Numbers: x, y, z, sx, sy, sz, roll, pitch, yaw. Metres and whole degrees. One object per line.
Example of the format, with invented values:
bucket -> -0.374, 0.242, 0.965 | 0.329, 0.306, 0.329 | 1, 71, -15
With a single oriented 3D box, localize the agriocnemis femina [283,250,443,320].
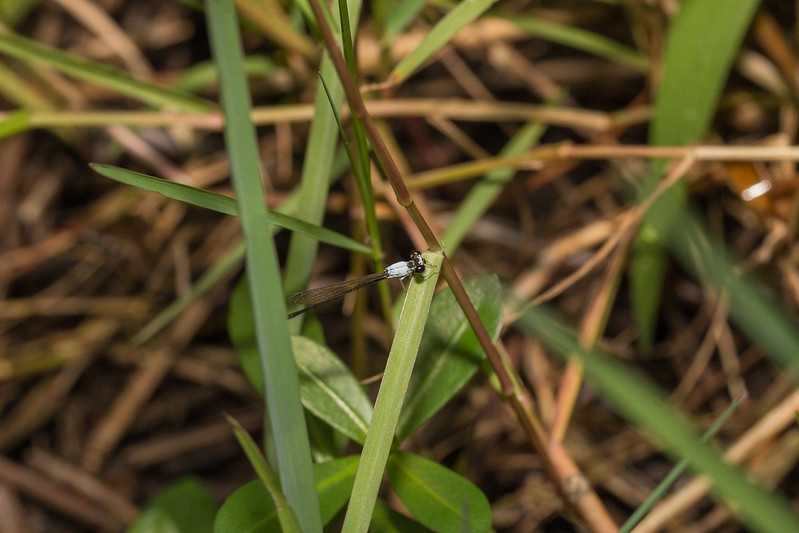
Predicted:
agriocnemis femina -> -0.059, 0.030, 1.252 | 0.175, 0.043, 0.048 | -21, 39, -11
